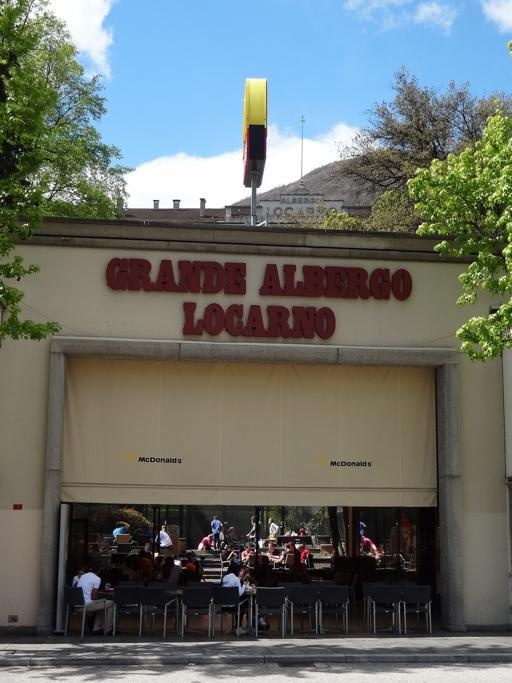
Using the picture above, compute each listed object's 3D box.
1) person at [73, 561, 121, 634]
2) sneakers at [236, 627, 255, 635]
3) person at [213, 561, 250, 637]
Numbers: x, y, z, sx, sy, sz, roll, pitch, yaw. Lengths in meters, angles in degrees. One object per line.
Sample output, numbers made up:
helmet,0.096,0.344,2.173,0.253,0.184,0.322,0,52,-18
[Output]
person,-2.669,4.275,14.535,0.665,1.111,1.009,2,-14,-11
sneakers,-0.173,4.874,14.815,0.362,0.154,0.127,0,-6,-12
person,-0.331,4.351,15.045,0.529,1.157,1.425,-4,-14,11
